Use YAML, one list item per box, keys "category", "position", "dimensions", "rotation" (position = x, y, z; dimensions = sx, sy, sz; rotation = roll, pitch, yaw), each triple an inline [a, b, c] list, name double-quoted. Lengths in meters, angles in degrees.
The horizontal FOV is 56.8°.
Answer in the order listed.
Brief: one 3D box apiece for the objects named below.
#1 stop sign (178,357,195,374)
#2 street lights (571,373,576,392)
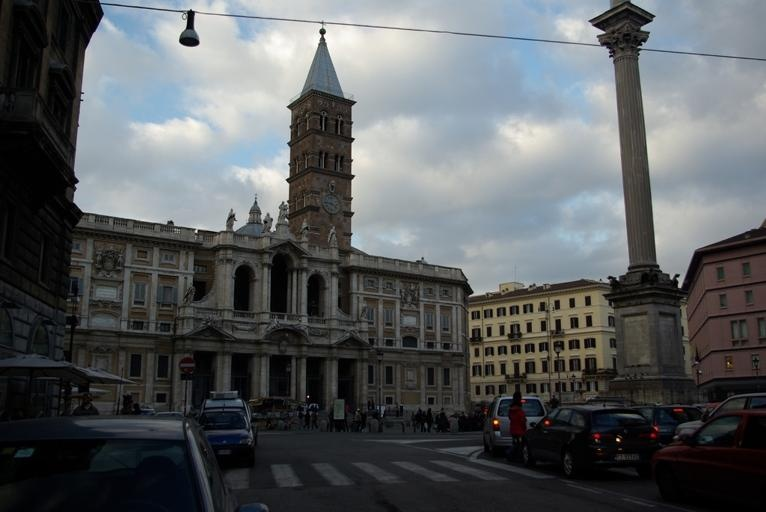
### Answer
- category: "stop sign"
  position: [-8.472, 4.735, 30.838]
  dimensions: [0.505, 0.806, 1.634]
  rotation: [4, -17, -12]
- category: "street lights"
  position: [25.769, 17.132, 95.783]
  dimensions: [0.781, 2.280, 0.853]
  rotation: [-7, -18, 23]
